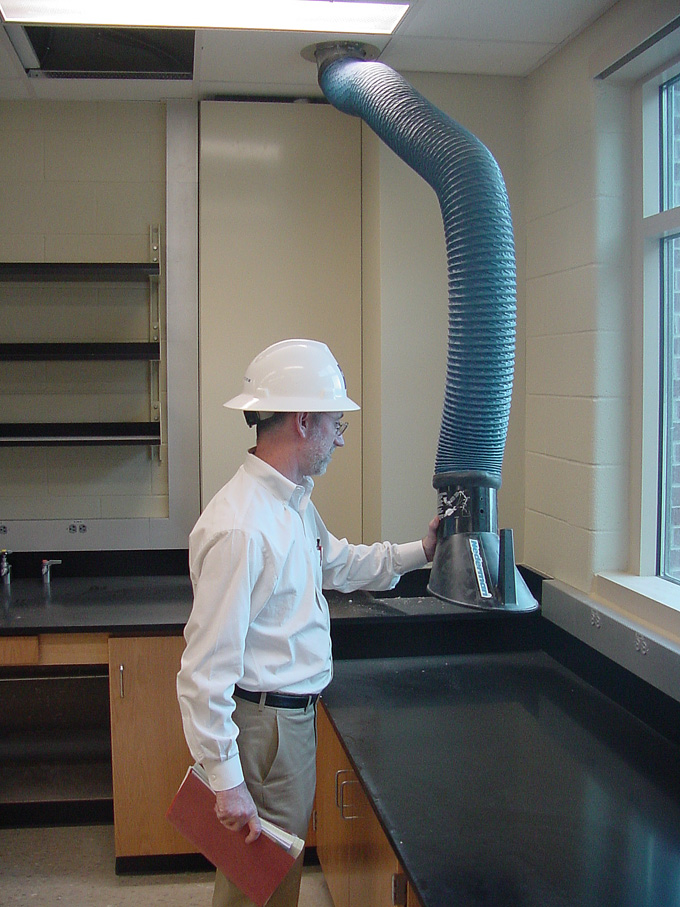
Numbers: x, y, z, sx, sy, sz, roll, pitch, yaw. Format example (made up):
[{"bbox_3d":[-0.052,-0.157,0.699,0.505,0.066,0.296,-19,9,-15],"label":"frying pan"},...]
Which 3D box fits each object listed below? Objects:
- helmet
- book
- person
[{"bbox_3d":[-0.098,-0.139,1.676,0.181,0.120,0.168,-5,-2,9],"label":"helmet"},{"bbox_3d":[-0.182,0.637,1.530,0.266,0.210,0.079,44,32,23],"label":"book"},{"bbox_3d":[-0.124,0.268,1.732,0.289,1.016,0.696,4,4,18],"label":"person"}]
